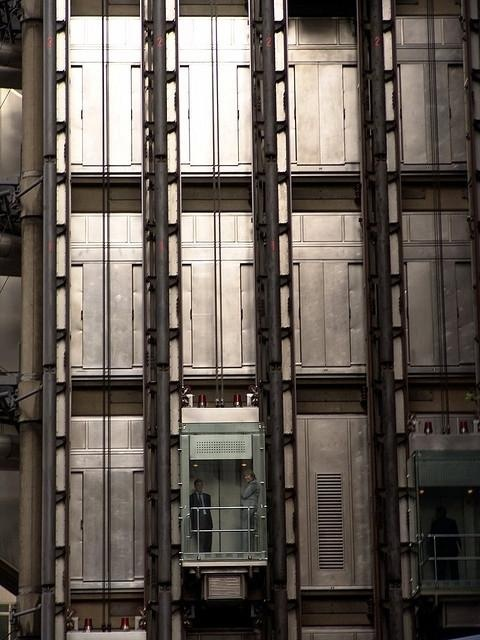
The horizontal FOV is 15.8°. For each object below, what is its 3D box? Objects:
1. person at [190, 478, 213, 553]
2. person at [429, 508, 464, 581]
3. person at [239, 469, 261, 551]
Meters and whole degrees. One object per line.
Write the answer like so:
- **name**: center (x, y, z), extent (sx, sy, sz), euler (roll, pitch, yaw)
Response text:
- **person**: center (-0.977, 4.883, 42.737), extent (0.425, 0.472, 2.262), euler (-2, -59, 3)
- **person**: center (4.810, 5.272, 41.048), extent (0.710, 1.682, 0.377), euler (-7, -23, 15)
- **person**: center (0.191, 4.672, 42.593), extent (0.477, 1.872, 0.402), euler (0, -22, -1)
